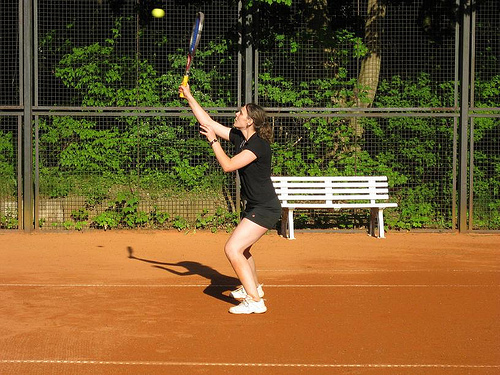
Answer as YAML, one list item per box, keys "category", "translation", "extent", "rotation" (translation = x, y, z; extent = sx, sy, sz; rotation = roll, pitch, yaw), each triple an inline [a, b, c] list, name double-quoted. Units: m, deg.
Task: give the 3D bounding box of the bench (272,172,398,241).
- category: "bench"
  translation: [1.655, 0.354, 12.824]
  extent: [2.331, 1.280, 1.045]
  rotation: [0, 1, -3]

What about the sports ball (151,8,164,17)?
- category: "sports ball"
  translation: [-1.748, -3.320, 12.442]
  extent: [0.210, 0.144, 0.212]
  rotation: [0, 1, 0]
